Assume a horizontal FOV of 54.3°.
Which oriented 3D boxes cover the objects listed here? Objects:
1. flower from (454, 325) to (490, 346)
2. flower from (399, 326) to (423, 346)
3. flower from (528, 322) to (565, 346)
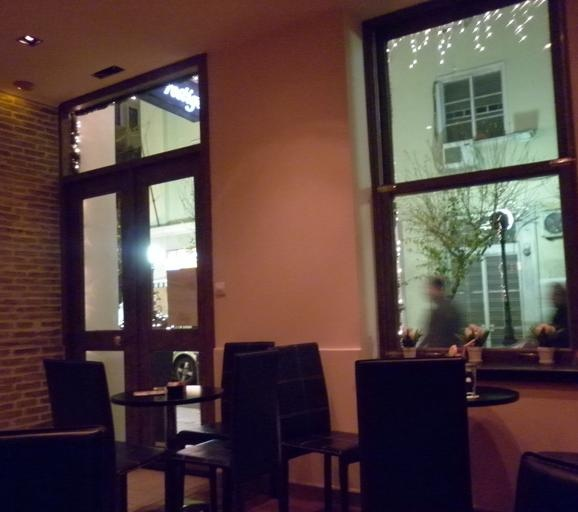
[{"bbox_3d":[1.129,0.477,3.489,0.162,0.147,0.170,-7,-13,26],"label":"flower"},{"bbox_3d":[0.784,0.522,3.669,0.111,0.115,0.111,2,-8,9],"label":"flower"},{"bbox_3d":[1.531,0.443,3.312,0.142,0.103,0.142,4,-5,-42],"label":"flower"}]
